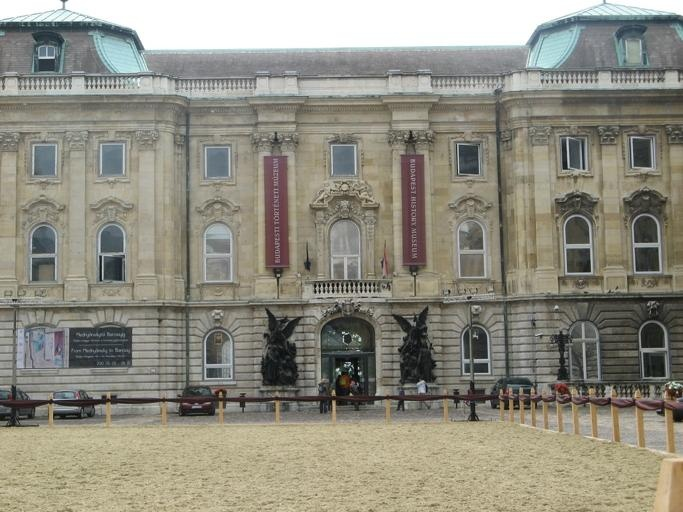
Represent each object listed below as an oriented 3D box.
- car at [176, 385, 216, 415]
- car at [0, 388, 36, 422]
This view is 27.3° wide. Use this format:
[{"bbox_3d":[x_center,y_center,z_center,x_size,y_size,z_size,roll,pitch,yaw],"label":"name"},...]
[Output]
[{"bbox_3d":[-7.828,7.504,75.610,1.395,1.035,2.388,1,-13,-6],"label":"car"},{"bbox_3d":[-17.145,7.590,74.186,1.902,1.424,2.981,-1,-3,3],"label":"car"}]
